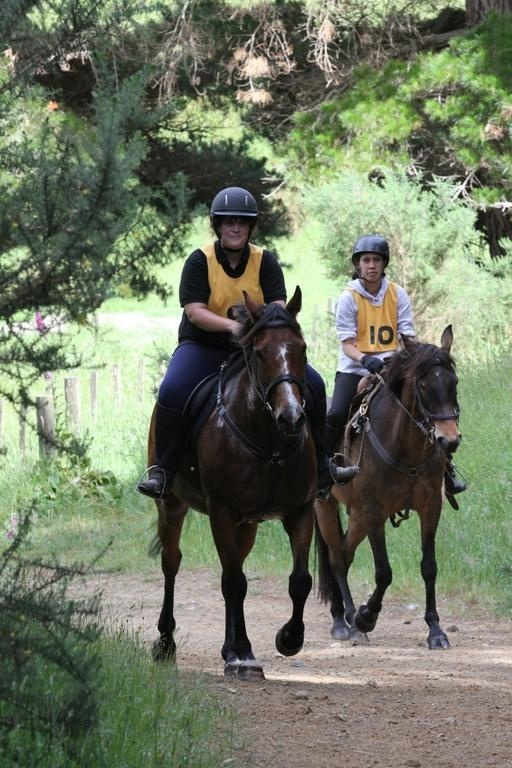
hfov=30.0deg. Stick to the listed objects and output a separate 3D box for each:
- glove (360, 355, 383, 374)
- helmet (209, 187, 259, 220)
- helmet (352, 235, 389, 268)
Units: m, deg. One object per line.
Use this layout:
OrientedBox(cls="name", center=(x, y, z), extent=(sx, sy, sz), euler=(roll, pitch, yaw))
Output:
OrientedBox(cls="glove", center=(0.922, -0.159, 7.580), extent=(0.165, 0.057, 0.127), euler=(17, -16, 46))
OrientedBox(cls="helmet", center=(-0.153, -1.158, 6.036), extent=(0.290, 0.205, 0.196), euler=(-1, 2, -7))
OrientedBox(cls="helmet", center=(0.951, -1.151, 7.899), extent=(0.267, 0.239, 0.318), euler=(2, -18, 3))
